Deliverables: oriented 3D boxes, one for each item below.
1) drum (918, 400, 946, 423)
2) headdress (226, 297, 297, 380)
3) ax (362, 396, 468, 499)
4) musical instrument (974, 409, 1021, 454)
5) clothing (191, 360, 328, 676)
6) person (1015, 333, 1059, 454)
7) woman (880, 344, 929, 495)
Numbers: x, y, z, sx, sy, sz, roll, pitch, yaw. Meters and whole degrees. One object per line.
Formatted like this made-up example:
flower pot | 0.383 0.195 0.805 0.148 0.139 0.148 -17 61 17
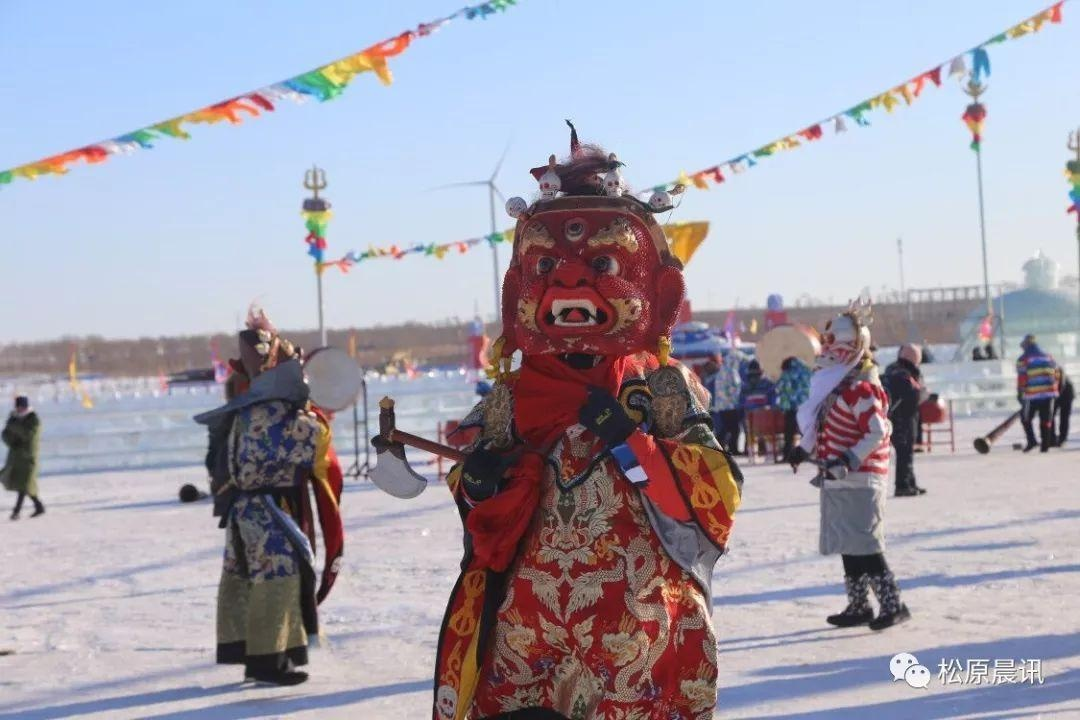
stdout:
drum | 5.969 0.756 28.208 0.360 0.438 0.669 0 -1 25
headdress | -2.919 -0.284 19.653 0.603 0.616 0.577 -12 -16 35
ax | -1.200 0.881 17.846 1.087 1.066 0.305 11 29 22
musical instrument | 7.251 1.113 29.390 1.280 0.282 0.305 -21 16 -39
clothing | -2.887 1.659 19.456 1.224 3.369 0.745 2 6 -8
person | 7.347 0.450 27.328 0.655 1.670 0.532 -2 -2 7
woman | 4.917 0.815 25.106 0.633 2.056 0.793 -6 10 -12
